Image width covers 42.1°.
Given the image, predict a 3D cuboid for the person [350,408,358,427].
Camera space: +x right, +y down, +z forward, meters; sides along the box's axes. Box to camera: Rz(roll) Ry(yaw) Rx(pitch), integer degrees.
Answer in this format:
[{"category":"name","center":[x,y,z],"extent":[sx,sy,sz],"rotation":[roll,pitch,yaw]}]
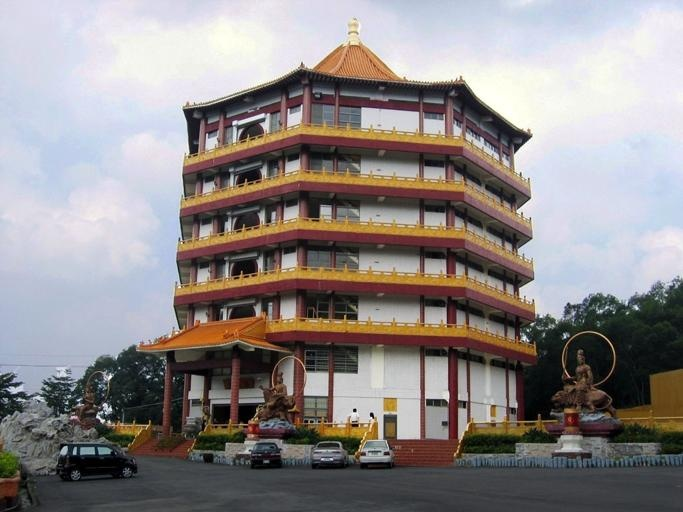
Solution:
[{"category":"person","center":[0.926,11.906,65.043],"extent":[0.580,1.177,0.644],"rotation":[1,-46,1]}]

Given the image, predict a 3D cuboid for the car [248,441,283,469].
[{"category":"car","center":[-4.633,12.299,54.943],"extent":[1.791,1.675,1.213],"rotation":[1,-16,2]}]

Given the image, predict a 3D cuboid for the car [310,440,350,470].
[{"category":"car","center":[-0.720,12.437,55.403],"extent":[1.976,1.795,2.394],"rotation":[-1,-16,6]}]

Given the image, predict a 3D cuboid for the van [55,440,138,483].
[{"category":"van","center":[-14.006,11.686,50.588],"extent":[3.858,1.810,2.193],"rotation":[0,-9,-21]}]

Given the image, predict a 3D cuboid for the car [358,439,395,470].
[{"category":"car","center":[2.141,12.454,55.334],"extent":[2.013,1.741,4.217],"rotation":[-1,-9,7]}]
